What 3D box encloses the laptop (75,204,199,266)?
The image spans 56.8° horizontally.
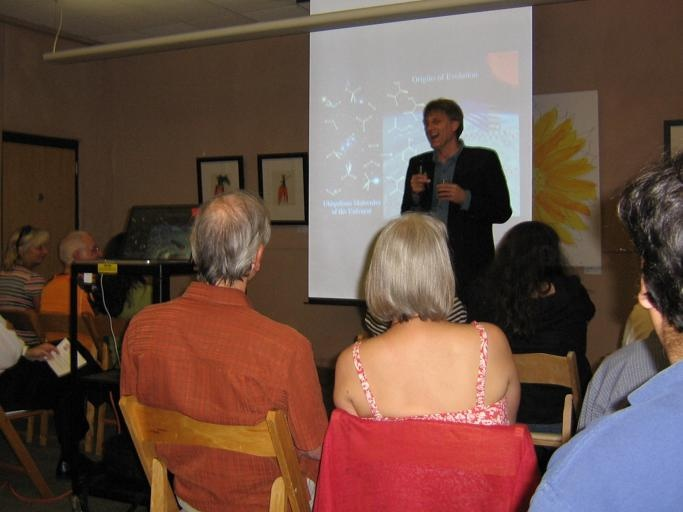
[{"bbox_3d":[-0.979,-0.130,3.289,0.168,0.333,0.477,18,11,31],"label":"laptop"}]

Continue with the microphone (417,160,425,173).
[{"bbox_3d":[0.522,-0.585,4.143,0.057,0.133,0.065,0,-5,3],"label":"microphone"}]

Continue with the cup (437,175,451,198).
[{"bbox_3d":[0.662,-0.455,4.117,0.068,0.143,0.126,-1,-1,8],"label":"cup"}]

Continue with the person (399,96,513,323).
[{"bbox_3d":[0.731,0.039,4.135,0.604,2.151,0.557,-5,-4,40],"label":"person"}]
